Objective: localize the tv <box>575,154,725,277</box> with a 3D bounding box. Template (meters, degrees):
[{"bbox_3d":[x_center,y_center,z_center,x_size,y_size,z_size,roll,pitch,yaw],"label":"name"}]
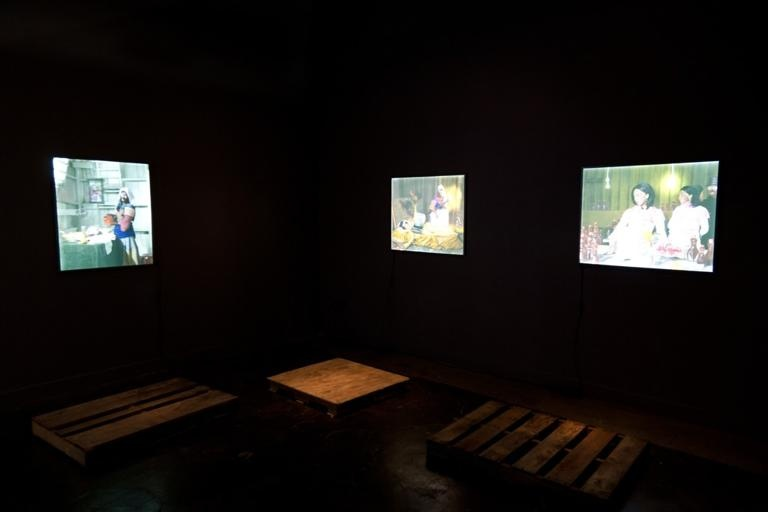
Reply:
[{"bbox_3d":[2.888,-0.446,5.433,1.390,1.158,0.091,3,5,37],"label":"tv"}]

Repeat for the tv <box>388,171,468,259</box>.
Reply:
[{"bbox_3d":[0.646,-0.569,6.892,1.227,1.131,0.048,3,4,34],"label":"tv"}]

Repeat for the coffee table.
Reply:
[{"bbox_3d":[-0.532,1.526,6.096,1.253,0.218,1.055,6,10,37],"label":"coffee table"}]

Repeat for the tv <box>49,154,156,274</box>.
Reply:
[{"bbox_3d":[-3.346,-0.511,6.011,1.471,1.773,0.120,-3,7,-42],"label":"tv"}]

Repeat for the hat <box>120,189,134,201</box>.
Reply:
[{"bbox_3d":[-3.071,-0.740,6.160,0.099,0.128,0.127,-1,6,-8],"label":"hat"}]

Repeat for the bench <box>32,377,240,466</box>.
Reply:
[{"bbox_3d":[-2.604,1.687,5.352,1.637,0.283,0.934,-6,10,-40],"label":"bench"}]
